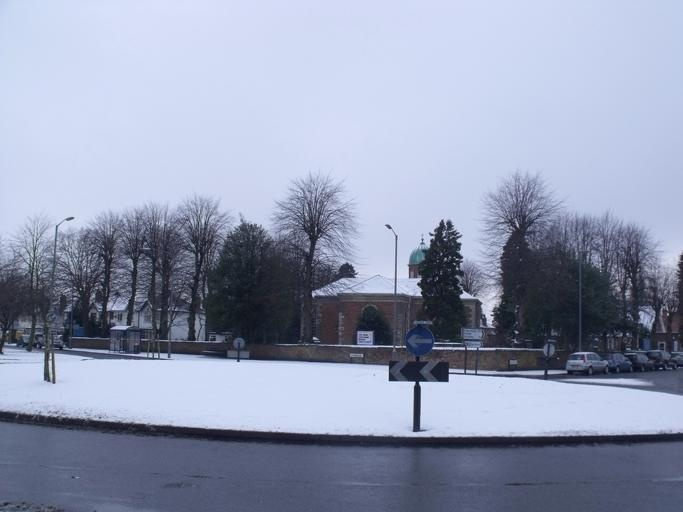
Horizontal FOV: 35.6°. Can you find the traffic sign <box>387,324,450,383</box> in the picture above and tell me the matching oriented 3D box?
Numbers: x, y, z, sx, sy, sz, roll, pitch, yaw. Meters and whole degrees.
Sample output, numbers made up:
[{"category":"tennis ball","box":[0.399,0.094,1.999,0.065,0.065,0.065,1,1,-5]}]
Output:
[{"category":"traffic sign","box":[2.396,3.122,33.292,1.782,1.844,0.896,1,6,4]}]
